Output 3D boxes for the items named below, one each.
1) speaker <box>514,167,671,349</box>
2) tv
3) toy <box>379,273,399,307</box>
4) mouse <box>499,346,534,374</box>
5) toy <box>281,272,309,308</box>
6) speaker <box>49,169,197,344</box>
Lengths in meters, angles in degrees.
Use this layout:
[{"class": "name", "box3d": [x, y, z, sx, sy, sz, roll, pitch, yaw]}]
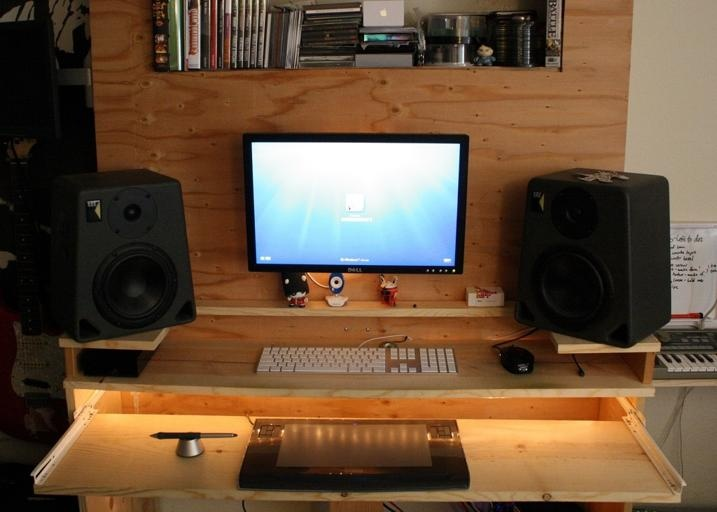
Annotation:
[{"class": "speaker", "box3d": [1.028, -0.011, 2.301, 0.582, 0.607, 0.586, -7, 9, -20]}, {"class": "tv", "box3d": [-0.024, -0.209, 2.382, 1.084, 0.525, 0.034, 4, 8, 33]}, {"class": "toy", "box3d": [0.129, 0.144, 2.502, 0.108, 0.120, 0.085, 2, 16, 14]}, {"class": "mouse", "box3d": [0.652, 0.426, 2.389, 0.142, 0.086, 0.131, 1, 8, 13]}, {"class": "toy", "box3d": [-0.271, 0.142, 2.484, 0.097, 0.188, 0.073, -7, -33, -10]}, {"class": "speaker", "box3d": [-0.895, -0.007, 2.189, 0.480, 0.608, 0.237, -5, 10, -25]}]
